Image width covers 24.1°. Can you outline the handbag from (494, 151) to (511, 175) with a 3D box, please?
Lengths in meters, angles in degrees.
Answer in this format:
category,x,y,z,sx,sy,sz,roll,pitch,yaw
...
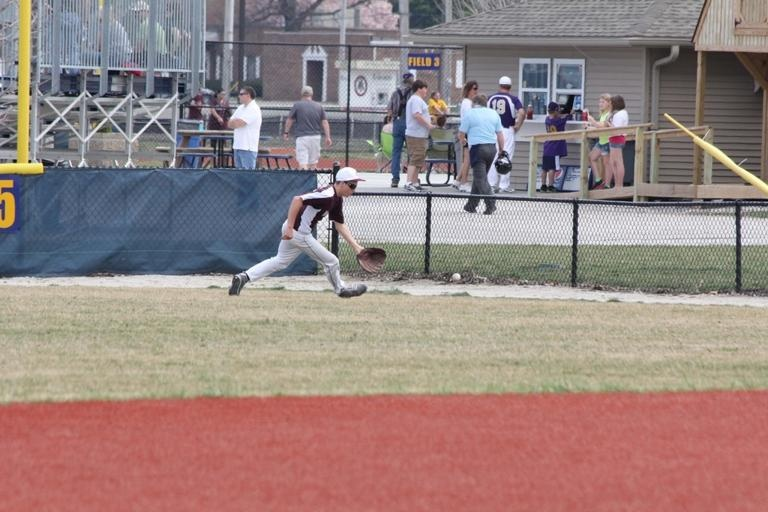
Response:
category,x,y,z,sx,sy,sz,roll,pitch,yaw
handbag,2.265,-1.762,34.213,0.305,0.449,0.435,-3,10,6

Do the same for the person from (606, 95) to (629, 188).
category,x,y,z,sx,sy,sz,roll,pitch,yaw
person,4.601,-2.248,35.506,0.364,1.768,1.441,3,5,7

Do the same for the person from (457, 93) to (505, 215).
category,x,y,z,sx,sy,sz,roll,pitch,yaw
person,1.823,-1.833,32.773,0.814,2.175,1.002,0,0,-7

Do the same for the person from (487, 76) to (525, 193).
category,x,y,z,sx,sy,sz,roll,pitch,yaw
person,2.465,-2.451,36.070,0.703,2.153,1.006,0,2,7

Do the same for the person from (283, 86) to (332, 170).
category,x,y,z,sx,sy,sz,roll,pitch,yaw
person,-1.450,-2.394,34.833,0.732,2.087,0.738,0,2,5

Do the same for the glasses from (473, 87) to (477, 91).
category,x,y,z,sx,sy,sz,roll,pitch,yaw
glasses,1.757,-3.230,34.826,0.056,0.067,0.023,3,7,-17

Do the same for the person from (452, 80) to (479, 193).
category,x,y,z,sx,sy,sz,roll,pitch,yaw
person,1.747,-2.294,35.264,0.599,2.076,0.846,-6,10,-35

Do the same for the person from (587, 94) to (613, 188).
category,x,y,z,sx,sy,sz,roll,pitch,yaw
person,4.339,-2.281,35.885,0.469,1.923,0.489,-1,-1,-4

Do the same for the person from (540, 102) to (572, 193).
category,x,y,z,sx,sy,sz,roll,pitch,yaw
person,3.441,-2.170,36.202,0.513,1.780,0.479,-2,-1,-1

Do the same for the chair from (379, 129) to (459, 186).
category,x,y,z,sx,sy,sz,roll,pitch,yaw
chair,1.107,-2.093,37.760,0.868,2.209,0.711,0,1,-6

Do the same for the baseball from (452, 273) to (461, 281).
category,x,y,z,sx,sy,sz,roll,pitch,yaw
baseball,1.190,0.333,29.603,0.107,0.105,0.110,3,1,29

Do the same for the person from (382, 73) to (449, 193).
category,x,y,z,sx,sy,sz,roll,pitch,yaw
person,0.615,-2.389,35.056,0.902,2.003,1.286,0,0,6
